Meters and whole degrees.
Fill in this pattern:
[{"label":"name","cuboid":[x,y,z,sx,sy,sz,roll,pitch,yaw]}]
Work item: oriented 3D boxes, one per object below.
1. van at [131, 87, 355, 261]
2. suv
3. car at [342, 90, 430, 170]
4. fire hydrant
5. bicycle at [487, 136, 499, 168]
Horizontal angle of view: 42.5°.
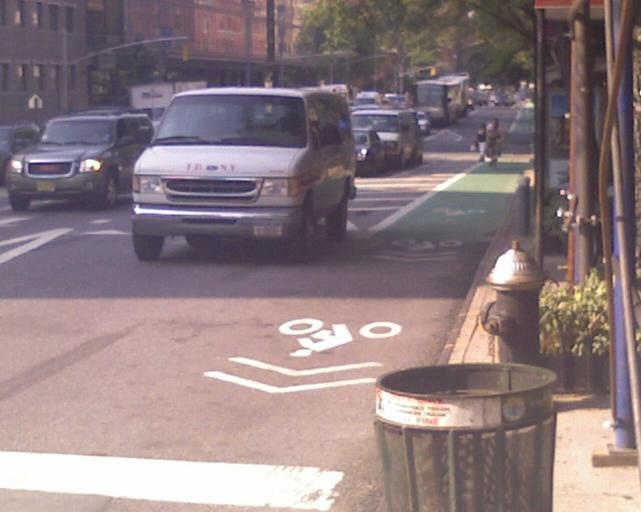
[{"label":"van","cuboid":[-1.194,-1.334,13.320,3.696,2.855,2.585,-3,8,-18]},{"label":"suv","cuboid":[-6.131,-2.435,21.066,1.604,2.469,4.842,0,4,2]},{"label":"car","cuboid":[2.798,-5.040,35.361,3.081,2.666,7.424,0,9,6]},{"label":"fire hydrant","cuboid":[1.223,0.370,5.319,0.391,0.938,0.664,1,7,13]},{"label":"bicycle","cuboid":[7.326,-4.365,35.078,0.443,1.189,1.185,1,7,12]}]
